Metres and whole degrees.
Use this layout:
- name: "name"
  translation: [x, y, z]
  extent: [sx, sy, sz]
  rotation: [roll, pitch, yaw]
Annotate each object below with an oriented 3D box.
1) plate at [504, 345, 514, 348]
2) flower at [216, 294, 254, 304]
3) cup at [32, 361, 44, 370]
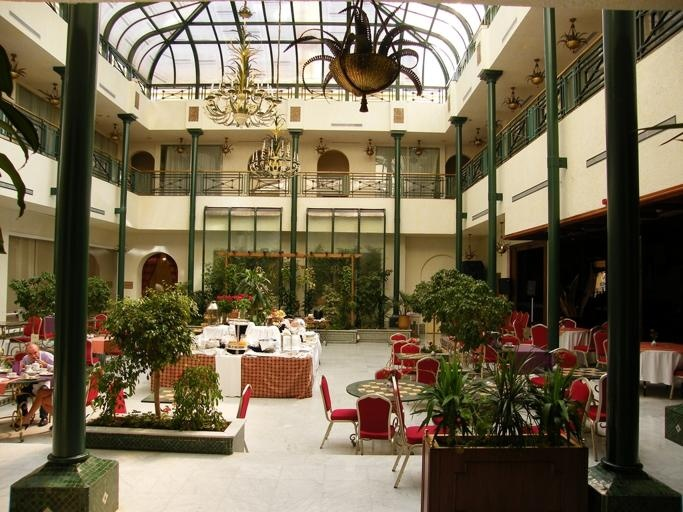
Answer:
- name: "plate"
  translation: [3.304, 1.790, 10.944]
  extent: [0.205, 0.052, 0.212]
  rotation: [-7, -10, 36]
- name: "flower"
  translation: [-2.710, 1.066, 14.189]
  extent: [1.031, 0.222, 0.495]
  rotation: [5, 11, 23]
- name: "cup"
  translation: [-4.829, 1.742, 8.744]
  extent: [0.112, 0.118, 0.119]
  rotation: [1, -11, 0]
